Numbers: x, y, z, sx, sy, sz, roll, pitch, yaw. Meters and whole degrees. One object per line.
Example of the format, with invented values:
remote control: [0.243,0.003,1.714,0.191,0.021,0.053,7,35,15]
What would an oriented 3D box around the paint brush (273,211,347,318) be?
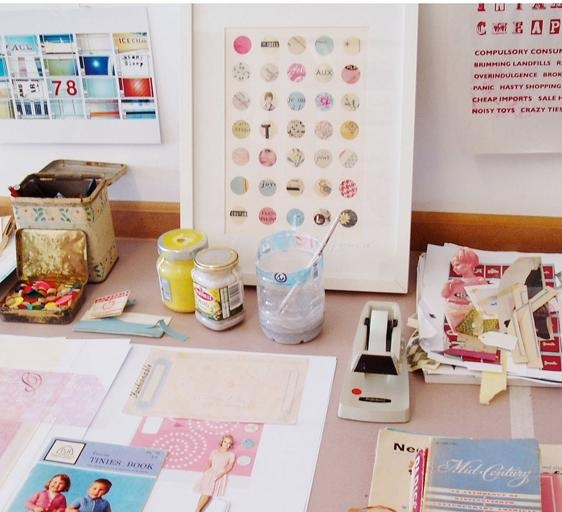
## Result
paint brush: [0.044,0.026,0.813,0.127,0.158,0.162,2,22,10]

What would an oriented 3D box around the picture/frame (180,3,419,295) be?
picture/frame: [0.023,-0.188,0.867,0.415,0.498,0.178,3,26,12]

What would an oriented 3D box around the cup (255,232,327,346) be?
cup: [0.016,0.067,0.779,0.118,0.174,0.113,-2,25,1]
